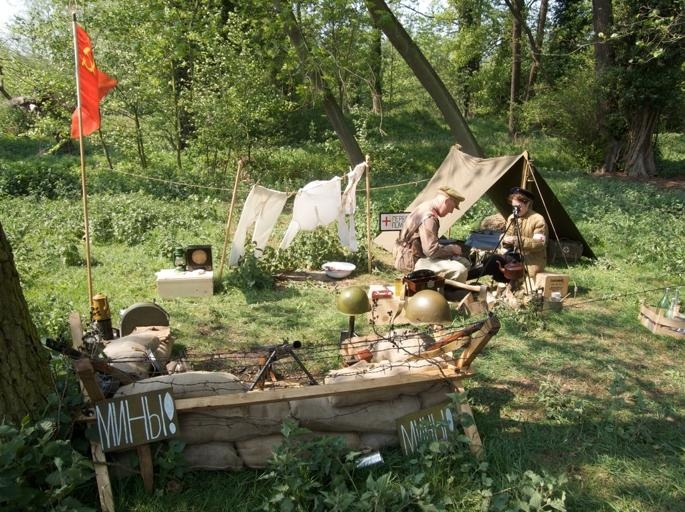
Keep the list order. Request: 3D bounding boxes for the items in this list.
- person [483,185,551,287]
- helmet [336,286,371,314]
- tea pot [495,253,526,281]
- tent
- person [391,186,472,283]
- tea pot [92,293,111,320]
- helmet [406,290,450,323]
[{"bbox_3d":[2.936,-0.405,11.526,0.854,1.828,0.613,0,1,-23],"label":"person"},{"bbox_3d":[0.119,0.561,8.652,0.330,0.239,0.350,12,18,37],"label":"helmet"},{"bbox_3d":[2.623,0.167,10.742,0.414,0.313,0.264,6,12,37],"label":"tea pot"},{"bbox_3d":[2.723,-1.344,12.825,3.109,1.922,2.396,-4,7,-34],"label":"tent"},{"bbox_3d":[1.404,-0.371,10.974,1.240,1.495,0.597,2,6,16],"label":"person"},{"bbox_3d":[-3.266,0.687,9.219,0.257,0.382,0.238,1,14,0],"label":"tea pot"},{"bbox_3d":[1.056,0.612,8.223,0.412,0.271,0.409,-3,6,-32],"label":"helmet"}]
